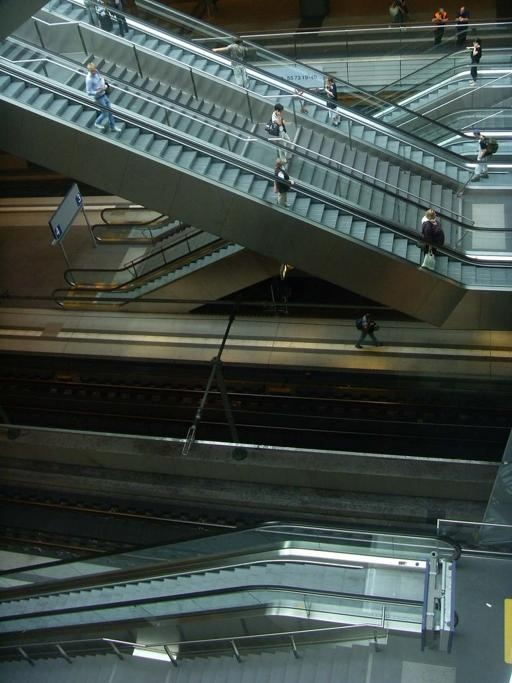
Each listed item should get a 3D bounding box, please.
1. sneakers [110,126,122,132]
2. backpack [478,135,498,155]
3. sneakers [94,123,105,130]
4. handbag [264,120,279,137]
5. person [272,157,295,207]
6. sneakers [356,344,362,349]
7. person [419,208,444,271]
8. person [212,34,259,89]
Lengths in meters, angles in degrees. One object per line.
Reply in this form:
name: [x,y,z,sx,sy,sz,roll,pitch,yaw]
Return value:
sneakers: [-2.324,-3.533,9.292,0.178,0.055,0.071,3,-10,8]
backpack: [4.720,-3.991,11.430,0.426,0.294,0.411,5,-41,14]
sneakers: [-2.573,-3.550,9.232,0.160,0.071,0.147,8,6,0]
handbag: [0.348,-3.949,10.452,0.215,0.223,0.298,-8,-38,25]
person: [0.452,-2.663,9.414,0.332,0.341,0.894,-17,-29,10]
sneakers: [2.358,0.111,12.817,0.149,0.064,0.136,-12,-27,10]
person: [2.977,-1.713,9.438,0.388,0.902,0.664,-1,-36,18]
person: [-0.366,-5.649,11.267,0.973,0.919,0.256,-1,-13,-8]
